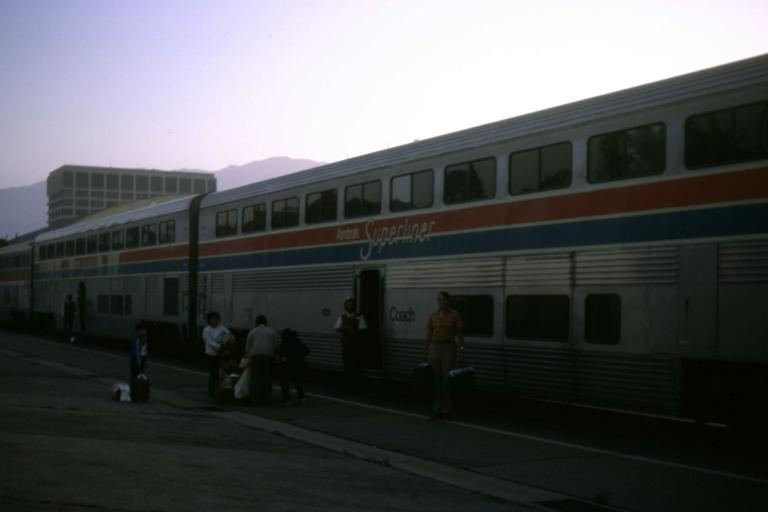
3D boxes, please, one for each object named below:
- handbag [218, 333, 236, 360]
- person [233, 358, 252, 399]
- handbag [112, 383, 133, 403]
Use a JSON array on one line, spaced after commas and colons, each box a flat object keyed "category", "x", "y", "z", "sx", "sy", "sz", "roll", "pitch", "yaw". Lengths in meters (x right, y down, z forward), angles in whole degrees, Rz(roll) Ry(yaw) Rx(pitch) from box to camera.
[{"category": "handbag", "x": -3.532, "y": 1.999, "z": 15.046, "sx": 0.359, "sy": 0.498, "sz": 0.187, "roll": 10, "pitch": -10, "yaw": -40}, {"category": "person", "x": -3.012, "y": 2.697, "z": 14.548, "sx": 0.286, "sy": 0.775, "sz": 0.362, "roll": 1, "pitch": -20, "yaw": -5}, {"category": "handbag", "x": -5.471, "y": 2.849, "z": 14.081, "sx": 0.331, "sy": 0.387, "sz": 0.409, "roll": 6, "pitch": -9, "yaw": -26}]
